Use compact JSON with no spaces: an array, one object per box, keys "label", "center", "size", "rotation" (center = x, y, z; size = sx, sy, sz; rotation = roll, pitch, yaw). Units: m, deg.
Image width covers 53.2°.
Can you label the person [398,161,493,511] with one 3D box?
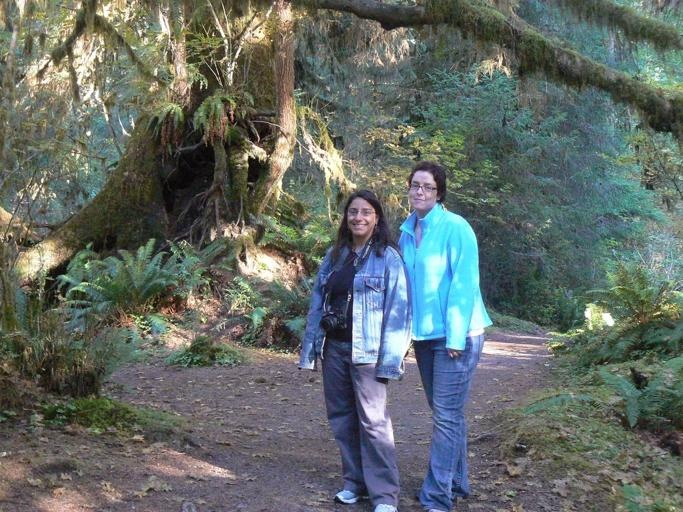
[{"label":"person","center":[1.044,0.778,7.024],"size":[0.691,3.465,0.851],"rotation":[-1,6,-30]}]
